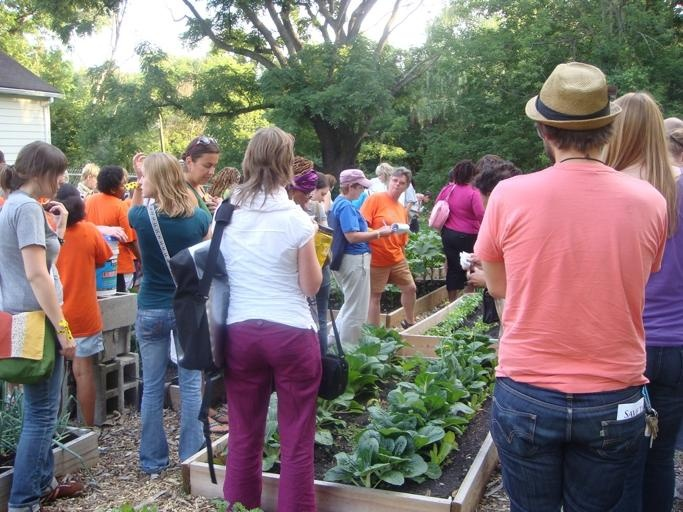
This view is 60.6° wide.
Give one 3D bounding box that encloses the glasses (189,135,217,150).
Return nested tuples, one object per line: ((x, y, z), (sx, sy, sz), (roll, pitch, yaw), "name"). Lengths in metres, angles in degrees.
((-1.086, -0.897, 4.491), (0.142, 0.047, 0.125), (-20, -13, 26), "glasses")

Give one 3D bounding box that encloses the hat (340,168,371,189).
((0.157, -0.856, 6.485), (0.304, 0.149, 0.201), (-6, 17, -10), "hat")

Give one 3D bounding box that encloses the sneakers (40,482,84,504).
((-1.877, 1.582, 3.923), (0.226, 0.090, 0.081), (-12, 25, -34), "sneakers")

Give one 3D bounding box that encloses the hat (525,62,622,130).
((0.970, -0.660, 2.450), (0.290, 0.134, 0.359), (-1, 32, 3), "hat")

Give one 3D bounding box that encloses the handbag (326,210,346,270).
((-0.043, -0.136, 5.551), (0.178, 0.603, 0.485), (0, 13, 10), "handbag")
